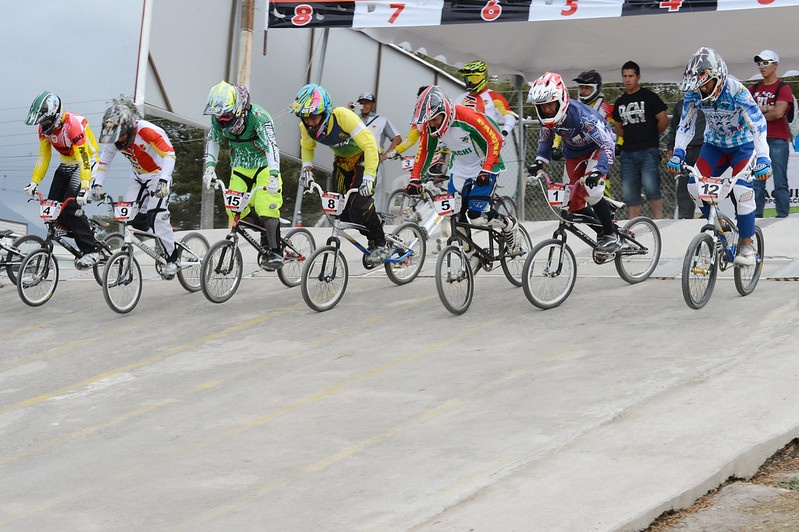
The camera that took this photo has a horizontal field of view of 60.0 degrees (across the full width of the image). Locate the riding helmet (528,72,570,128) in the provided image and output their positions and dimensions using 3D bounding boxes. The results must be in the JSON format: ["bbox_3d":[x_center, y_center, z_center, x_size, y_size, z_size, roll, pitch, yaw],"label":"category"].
[{"bbox_3d":[1.702,-1.901,7.942,0.355,0.615,0.562,8,15,28],"label":"riding helmet"}]

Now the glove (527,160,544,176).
[{"bbox_3d":[1.671,-1.183,8.477,0.147,0.106,0.250,19,38,33],"label":"glove"}]

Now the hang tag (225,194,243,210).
[{"bbox_3d":[-2.216,-0.852,9.187,0.234,0.205,0.029,2,-13,-1],"label":"hang tag"}]

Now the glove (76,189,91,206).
[{"bbox_3d":[-4.388,-0.948,9.537,0.208,0.088,0.232,4,32,-3],"label":"glove"}]

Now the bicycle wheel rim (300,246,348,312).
[{"bbox_3d":[-0.976,0.155,8.646,0.258,0.844,0.784,9,15,32],"label":"bicycle wheel rim"}]

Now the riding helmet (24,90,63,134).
[{"bbox_3d":[-5.085,-2.178,9.856,0.479,0.564,0.314,-5,14,-24],"label":"riding helmet"}]

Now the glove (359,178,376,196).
[{"bbox_3d":[-0.419,-0.988,8.797,0.104,0.211,0.222,25,-10,-30],"label":"glove"}]

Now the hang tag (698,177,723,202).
[{"bbox_3d":[3.372,-0.829,7.528,0.247,0.238,0.251,6,14,21],"label":"hang tag"}]

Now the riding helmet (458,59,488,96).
[{"bbox_3d":[1.195,-2.967,11.042,0.602,0.499,0.447,-9,10,-40],"label":"riding helmet"}]

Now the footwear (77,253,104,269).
[{"bbox_3d":[-4.463,-0.075,9.970,0.366,0.166,0.160,-9,-28,-50],"label":"footwear"}]

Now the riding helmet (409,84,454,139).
[{"bbox_3d":[0.385,-1.821,8.171,0.423,0.594,0.588,4,13,15],"label":"riding helmet"}]

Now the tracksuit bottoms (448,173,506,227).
[{"bbox_3d":[0.850,-0.897,8.696,0.512,0.575,1.203,-5,14,-25],"label":"tracksuit bottoms"}]

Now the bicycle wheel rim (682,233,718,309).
[{"bbox_3d":[3.262,0.056,7.496,0.660,0.874,0.177,-11,17,-41],"label":"bicycle wheel rim"}]

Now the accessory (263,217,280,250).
[{"bbox_3d":[-1.728,-0.428,9.316,0.221,0.450,0.144,-2,13,-12],"label":"accessory"}]

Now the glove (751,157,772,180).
[{"bbox_3d":[4.004,-1.074,7.675,0.217,0.131,0.269,0,-10,11],"label":"glove"}]

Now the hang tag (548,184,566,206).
[{"bbox_3d":[1.873,-0.849,8.244,0.266,0.255,0.241,1,2,26],"label":"hang tag"}]

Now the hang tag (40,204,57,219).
[{"bbox_3d":[-5.039,-0.777,9.880,0.217,0.179,0.116,2,-7,-16],"label":"hang tag"}]

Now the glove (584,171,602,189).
[{"bbox_3d":[2.257,-1.000,8.075,0.192,0.213,0.268,7,14,26],"label":"glove"}]

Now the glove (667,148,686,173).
[{"bbox_3d":[3.051,-1.141,7.580,0.217,0.092,0.257,2,50,46],"label":"glove"}]

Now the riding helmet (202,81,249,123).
[{"bbox_3d":[-2.352,-2.176,9.091,0.403,0.366,0.634,7,26,20],"label":"riding helmet"}]

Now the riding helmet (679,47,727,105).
[{"bbox_3d":[3.255,-2.039,7.452,0.576,0.584,0.273,-8,15,-33],"label":"riding helmet"}]

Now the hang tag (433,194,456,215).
[{"bbox_3d":[0.531,-0.711,8.168,0.245,0.254,0.226,0,13,-3],"label":"hang tag"}]

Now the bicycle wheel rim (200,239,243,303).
[{"bbox_3d":[-2.415,0.084,9.314,0.391,0.941,0.734,5,14,20],"label":"bicycle wheel rim"}]

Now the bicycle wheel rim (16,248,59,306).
[{"bbox_3d":[-5.299,0.153,10.047,0.299,0.900,0.905,4,1,13],"label":"bicycle wheel rim"}]

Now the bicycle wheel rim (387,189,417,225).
[{"bbox_3d":[-0.024,-1.128,13.354,0.586,0.866,0.437,10,-23,-7],"label":"bicycle wheel rim"}]

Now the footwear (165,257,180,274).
[{"bbox_3d":[-3.169,0.006,9.620,0.090,0.202,0.144,31,-15,16],"label":"footwear"}]

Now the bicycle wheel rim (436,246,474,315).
[{"bbox_3d":[0.618,0.174,8.054,0.251,0.878,0.774,10,16,35],"label":"bicycle wheel rim"}]

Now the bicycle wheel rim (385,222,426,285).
[{"bbox_3d":[0.069,-0.141,9.678,0.245,0.636,0.735,8,44,32],"label":"bicycle wheel rim"}]

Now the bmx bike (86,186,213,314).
[{"bbox_3d":[-4.017,-0.064,9.531,1.205,1.378,2.382,-9,-4,25],"label":"bmx bike"}]

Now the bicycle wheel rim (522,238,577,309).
[{"bbox_3d":[1.726,0.093,8.027,0.324,0.870,0.878,10,16,36],"label":"bicycle wheel rim"}]

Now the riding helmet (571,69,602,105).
[{"bbox_3d":[2.695,-2.537,10.008,0.545,0.470,0.415,-3,3,-42],"label":"riding helmet"}]

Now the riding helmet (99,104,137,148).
[{"bbox_3d":[-3.807,-1.851,9.273,0.319,0.564,0.539,6,14,21],"label":"riding helmet"}]
